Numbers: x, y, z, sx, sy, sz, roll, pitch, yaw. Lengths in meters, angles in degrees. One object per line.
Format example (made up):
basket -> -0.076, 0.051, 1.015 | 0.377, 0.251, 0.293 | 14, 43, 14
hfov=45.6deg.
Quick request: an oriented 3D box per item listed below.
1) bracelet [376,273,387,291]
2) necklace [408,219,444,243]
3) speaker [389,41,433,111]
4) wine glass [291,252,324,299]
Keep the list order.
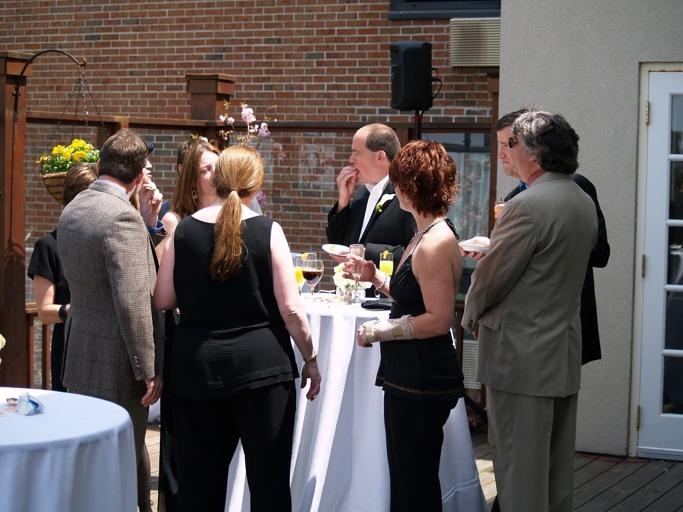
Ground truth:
bracelet -> 0.224, 0.141, 4.441 | 0.066, 0.085, 0.079 | 2, -11, -10
necklace -> 0.409, -0.128, 3.905 | 0.106, 0.047, 0.113 | -23, 10, 18
speaker -> 0.530, -1.438, 6.426 | 0.287, 0.535, 0.319 | -3, 11, -13
wine glass -> -0.180, 0.105, 4.548 | 0.199, 0.346, 0.225 | 1, -4, -1
